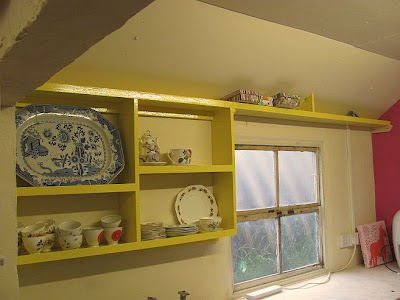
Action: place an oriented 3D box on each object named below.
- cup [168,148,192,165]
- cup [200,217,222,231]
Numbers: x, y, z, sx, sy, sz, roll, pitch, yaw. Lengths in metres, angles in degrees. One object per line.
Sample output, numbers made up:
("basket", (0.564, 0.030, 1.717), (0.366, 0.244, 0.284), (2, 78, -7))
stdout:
("cup", (-0.117, 0.036, 1.822), (0.119, 0.074, 0.087), (-1, -3, -21))
("cup", (0.058, 0.417, 1.817), (0.091, 0.054, 0.098), (-1, -16, 0))
